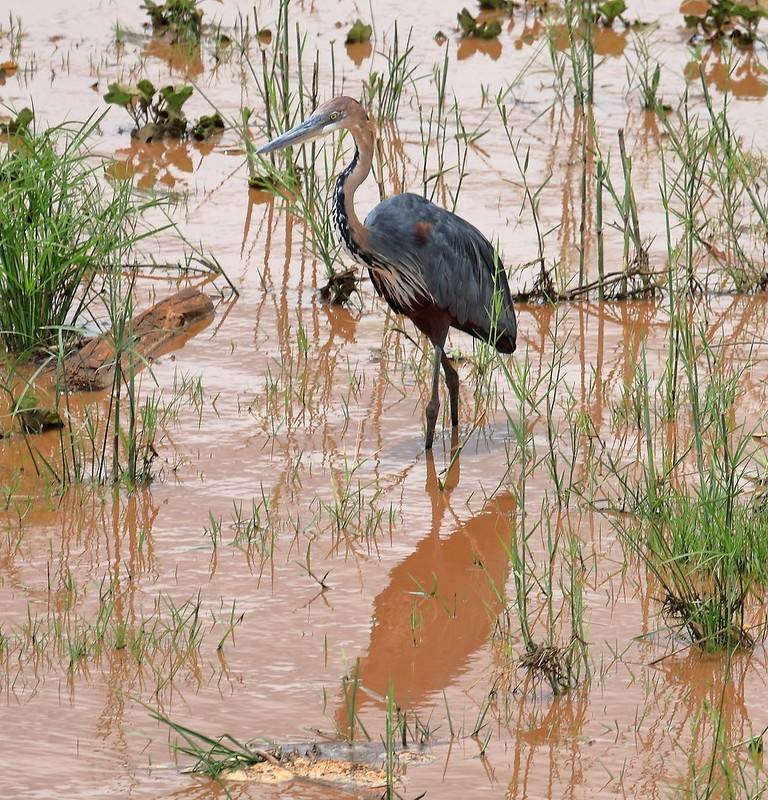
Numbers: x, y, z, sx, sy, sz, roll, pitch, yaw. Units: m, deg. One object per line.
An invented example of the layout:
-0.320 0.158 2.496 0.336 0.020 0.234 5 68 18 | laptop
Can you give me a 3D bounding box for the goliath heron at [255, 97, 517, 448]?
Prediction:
0.095 -0.527 5.294 1.026 1.179 0.626 4 2 -7 | goliath heron
